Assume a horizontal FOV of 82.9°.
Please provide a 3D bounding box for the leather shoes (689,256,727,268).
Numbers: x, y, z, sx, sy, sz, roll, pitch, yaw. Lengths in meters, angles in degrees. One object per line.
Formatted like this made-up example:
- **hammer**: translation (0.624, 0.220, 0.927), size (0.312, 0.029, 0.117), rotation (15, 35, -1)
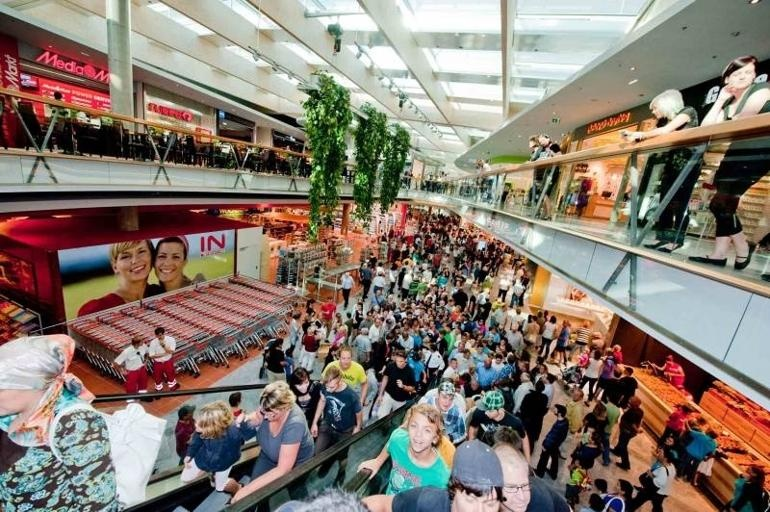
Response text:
- **leather shoes**: translation (5.010, 0.069, 6.774), size (0.477, 0.153, 0.164), rotation (13, 9, 32)

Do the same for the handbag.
- **handbag**: translation (-3.743, 3.034, 6.603), size (0.707, 1.249, 0.861), rotation (-3, 15, -33)

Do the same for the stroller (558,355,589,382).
- **stroller**: translation (5.352, 3.208, 12.429), size (0.397, 0.794, 0.546), rotation (33, 41, -1)

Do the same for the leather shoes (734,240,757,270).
- **leather shoes**: translation (5.453, 0.025, 6.604), size (0.140, 0.512, 0.185), rotation (11, 16, -8)

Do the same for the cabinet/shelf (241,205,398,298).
- **cabinet/shelf**: translation (-2.941, -0.203, 18.888), size (5.016, 1.627, 3.596), rotation (18, 18, 22)

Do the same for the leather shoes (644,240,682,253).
- **leather shoes**: translation (4.527, -0.158, 7.078), size (0.139, 0.177, 0.451), rotation (-16, -1, -15)

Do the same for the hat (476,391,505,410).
- **hat**: translation (1.875, 2.587, 7.855), size (0.475, 0.268, 0.340), rotation (-3, 15, 23)
